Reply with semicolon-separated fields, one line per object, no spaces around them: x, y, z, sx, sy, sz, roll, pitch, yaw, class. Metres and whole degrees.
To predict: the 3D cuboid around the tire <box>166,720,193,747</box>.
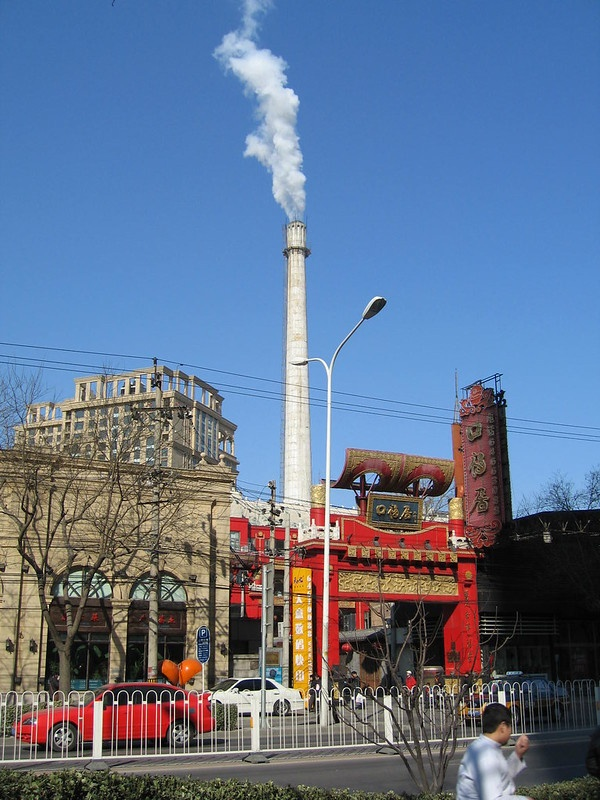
-2.525;6.944;20.937;0.163;0.475;0.452;-14;-25;42;tire

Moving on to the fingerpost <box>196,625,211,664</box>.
-2.877;7.274;29.957;0.359;1.004;0.390;3;-15;-16;fingerpost

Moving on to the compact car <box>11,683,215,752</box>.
-3.617;6.500;20.699;4.056;1.288;1.387;9;-18;-33;compact car

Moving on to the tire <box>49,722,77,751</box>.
-4.673;6.628;19.779;0.490;0.520;0.160;10;-16;-41;tire

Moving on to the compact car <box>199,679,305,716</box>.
-1.283;8.461;28.585;2.653;1.124;5.982;-2;-16;2;compact car

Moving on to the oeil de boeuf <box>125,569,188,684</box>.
-4.873;7.851;34.394;2.067;4.768;0.208;4;-50;-7;oeil de boeuf
